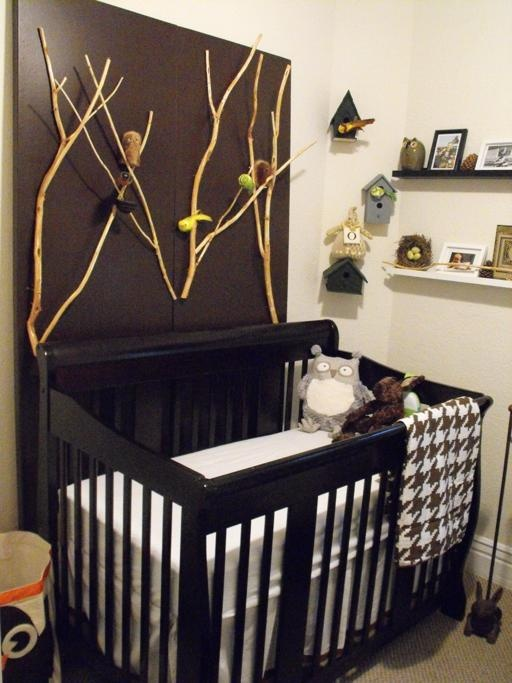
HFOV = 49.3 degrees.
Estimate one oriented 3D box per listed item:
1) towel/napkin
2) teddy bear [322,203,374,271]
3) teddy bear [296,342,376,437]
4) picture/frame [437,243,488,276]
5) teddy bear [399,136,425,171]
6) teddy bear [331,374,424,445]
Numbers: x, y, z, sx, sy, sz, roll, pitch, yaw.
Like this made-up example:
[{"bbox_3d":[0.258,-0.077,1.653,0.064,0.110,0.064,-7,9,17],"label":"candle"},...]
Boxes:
[{"bbox_3d":[0.497,0.384,1.513,0.068,0.564,0.423,7,13,40],"label":"towel/napkin"},{"bbox_3d":[0.363,-0.439,2.259,0.239,0.278,0.109,1,3,-25],"label":"teddy bear"},{"bbox_3d":[0.290,0.161,2.105,0.251,0.342,0.184,8,27,8],"label":"teddy bear"},{"bbox_3d":[0.781,-0.310,2.079,0.120,0.015,0.115,21,63,26],"label":"picture/frame"},{"bbox_3d":[0.614,-0.731,2.176,0.093,0.123,0.106,10,17,14],"label":"teddy bear"},{"bbox_3d":[0.406,0.200,1.868,0.188,0.259,0.178,18,13,-17],"label":"teddy bear"}]
